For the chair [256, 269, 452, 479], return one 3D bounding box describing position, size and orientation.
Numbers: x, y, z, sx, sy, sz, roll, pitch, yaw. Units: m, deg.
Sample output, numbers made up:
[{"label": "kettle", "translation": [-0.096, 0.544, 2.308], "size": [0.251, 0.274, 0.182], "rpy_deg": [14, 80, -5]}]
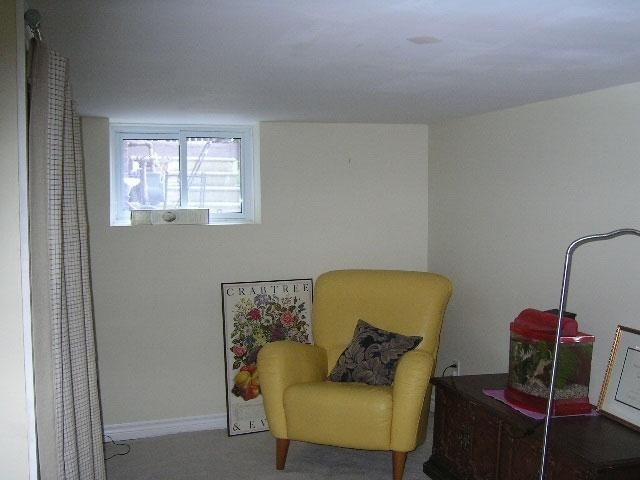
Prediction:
[{"label": "chair", "translation": [0.298, 0.844, 3.884], "size": [1.197, 1.505, 1.330], "rpy_deg": [-1, -5, 25]}]
